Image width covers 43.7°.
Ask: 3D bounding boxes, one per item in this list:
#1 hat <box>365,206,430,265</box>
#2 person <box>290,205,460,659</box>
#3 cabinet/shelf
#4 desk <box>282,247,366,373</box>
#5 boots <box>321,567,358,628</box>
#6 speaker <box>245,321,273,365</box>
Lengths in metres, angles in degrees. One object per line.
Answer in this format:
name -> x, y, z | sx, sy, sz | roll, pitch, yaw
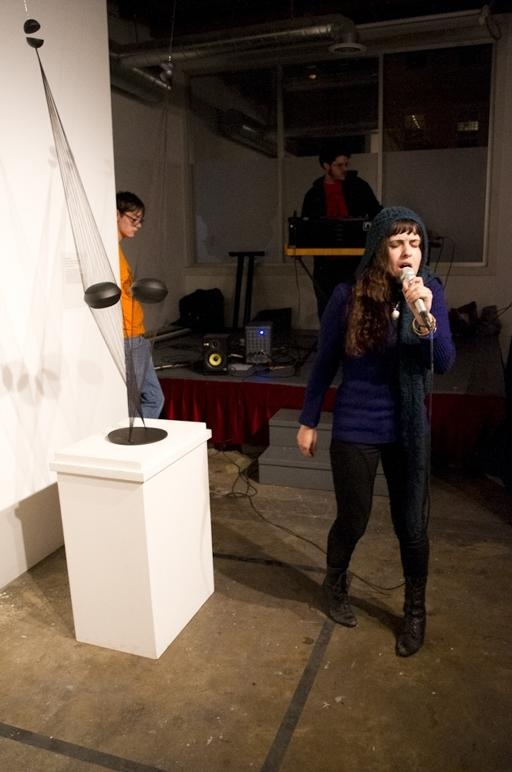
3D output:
hat -> 0.401, -0.424, 1.768 | 0.157, 0.175, 0.166 | -3, 3, -26
person -> 0.388, 0.167, 1.855 | 0.346, 1.314, 0.639 | -8, 12, -27
cabinet/shelf -> -0.374, 0.481, 2.100 | 0.347, 0.655, 0.473 | 3, 12, 22
desk -> 0.344, -0.652, 4.953 | 0.537, 0.768, 0.614 | -24, 20, -31
boots -> 0.271, 0.698, 2.118 | 0.084, 0.143, 0.215 | -1, 8, -11
speaker -> 0.019, -0.297, 4.559 | 0.186, 0.274, 0.238 | -2, 11, 1
